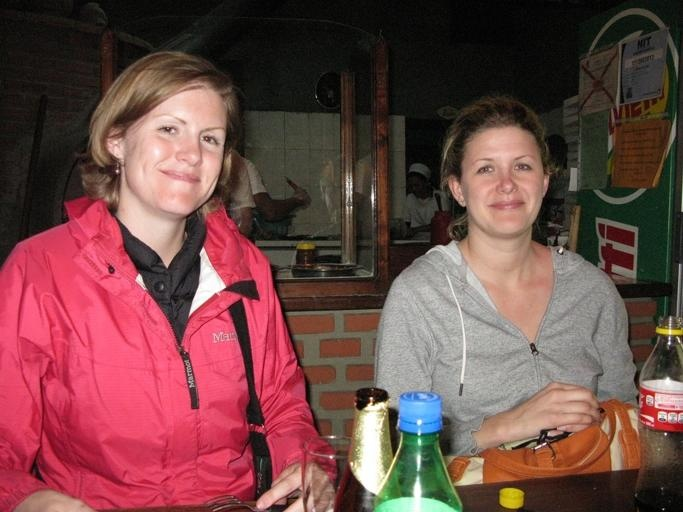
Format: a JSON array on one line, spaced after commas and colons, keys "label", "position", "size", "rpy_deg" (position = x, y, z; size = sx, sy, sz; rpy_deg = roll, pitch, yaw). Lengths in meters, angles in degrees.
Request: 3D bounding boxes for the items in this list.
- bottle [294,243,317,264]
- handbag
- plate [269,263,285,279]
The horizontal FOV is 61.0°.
[{"label": "bottle", "position": [-0.205, -0.012, 3.219], "size": [0.125, 0.120, 0.116], "rpy_deg": [0, 2, 6]}, {"label": "handbag", "position": [0.537, 0.513, 1.508], "size": [0.346, 0.107, 0.270], "rpy_deg": [-5, -18, -7]}, {"label": "plate", "position": [-0.318, 0.079, 2.815], "size": [0.069, 0.040, 0.099], "rpy_deg": [1, 1, -5]}]
